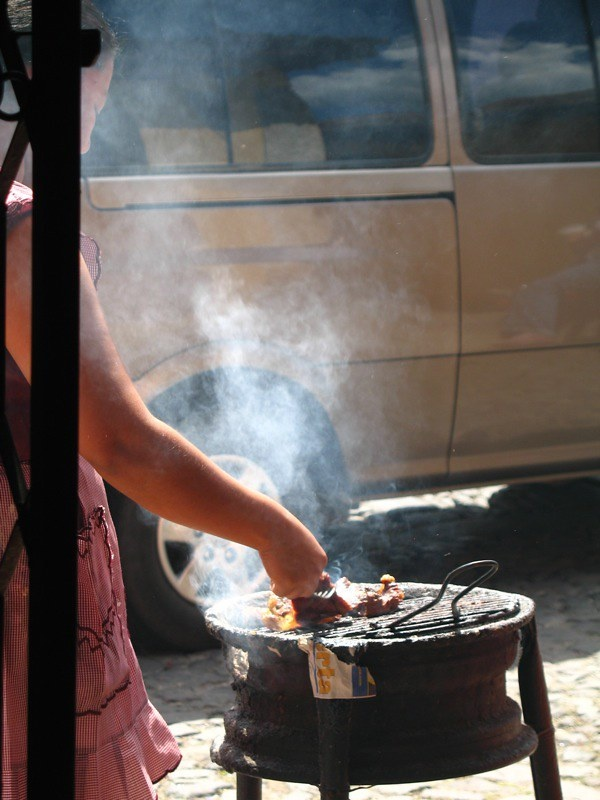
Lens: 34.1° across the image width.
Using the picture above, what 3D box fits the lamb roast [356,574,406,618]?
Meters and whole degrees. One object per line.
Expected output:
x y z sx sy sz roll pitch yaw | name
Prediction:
0.175 0.415 2.069 0.074 0.021 0.088 1 20 21 | lamb roast
